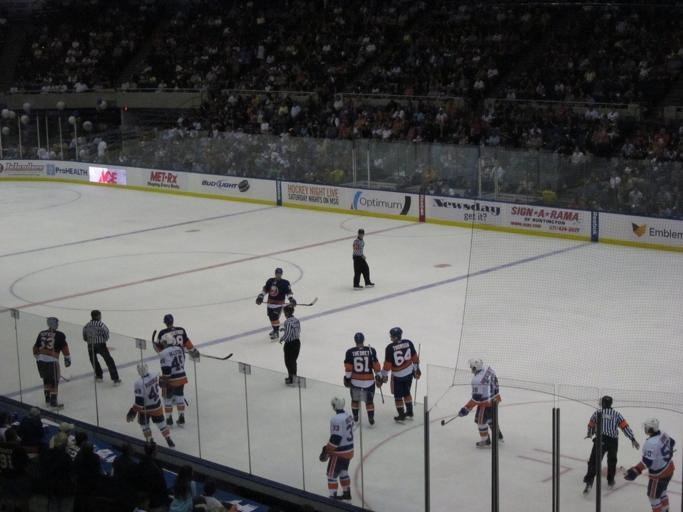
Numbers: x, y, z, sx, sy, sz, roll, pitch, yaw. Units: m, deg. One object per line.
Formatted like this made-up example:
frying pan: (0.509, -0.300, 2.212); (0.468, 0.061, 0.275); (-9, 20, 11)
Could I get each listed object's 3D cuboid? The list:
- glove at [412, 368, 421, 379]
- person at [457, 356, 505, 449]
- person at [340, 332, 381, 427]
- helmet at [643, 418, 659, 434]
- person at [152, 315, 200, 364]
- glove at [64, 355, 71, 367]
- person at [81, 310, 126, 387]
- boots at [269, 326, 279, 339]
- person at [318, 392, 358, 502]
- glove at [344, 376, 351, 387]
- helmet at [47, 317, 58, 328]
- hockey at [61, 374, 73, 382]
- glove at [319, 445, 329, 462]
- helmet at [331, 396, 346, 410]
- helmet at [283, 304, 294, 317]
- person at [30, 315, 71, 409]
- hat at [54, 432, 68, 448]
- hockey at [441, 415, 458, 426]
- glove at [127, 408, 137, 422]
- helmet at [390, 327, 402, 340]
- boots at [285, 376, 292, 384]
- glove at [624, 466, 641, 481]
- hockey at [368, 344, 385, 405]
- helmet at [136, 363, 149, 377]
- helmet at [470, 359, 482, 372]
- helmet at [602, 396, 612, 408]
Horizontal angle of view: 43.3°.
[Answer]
glove: (1.323, 2.025, 14.937); (0.118, 0.183, 0.065); (-2, 8, 8)
person: (1.992, 2.096, 12.271); (0.627, 1.044, 2.084); (0, 14, 8)
person: (0.398, 2.071, 14.676); (0.659, 1.628, 0.425); (2, 16, 8)
helmet: (4.266, 2.300, 11.852); (0.200, 0.211, 0.166); (12, 16, 29)
person: (-3.058, 1.737, 15.812); (0.764, 1.358, 0.452); (-7, 18, -24)
glove: (-4.823, 1.850, 15.227); (0.176, 0.192, 0.046); (6, 16, 30)
person: (-4.077, 1.682, 14.694); (0.342, 0.840, 0.953); (-10, 16, -30)
boots: (-1.475, 1.695, 19.221); (0.170, 0.283, 0.176); (31, 11, 32)
person: (-0.026, 2.808, 12.529); (0.522, 1.628, 0.235); (2, 14, 14)
glove: (0.111, 2.120, 14.561); (0.105, 0.179, 0.159); (-3, 10, -3)
helmet: (-5.030, 1.163, 15.090); (0.144, 0.217, 0.207); (-2, -4, -7)
hockey: (-4.840, 2.161, 15.231); (0.254, 0.119, 0.038); (9, 17, 35)
glove: (-0.221, 2.883, 12.647); (0.140, 0.246, 0.240); (6, 26, 8)
helmet: (-0.042, 2.114, 12.403); (0.145, 0.199, 0.191); (-4, 18, -18)
helmet: (-0.997, 1.053, 16.515); (0.194, 0.326, 0.212); (0, 23, -7)
person: (-5.135, 1.857, 15.338); (0.830, 1.686, 0.254); (5, 15, 26)
hat: (-4.241, 2.783, 13.054); (0.147, 0.180, 0.195); (-9, -11, -33)
hockey: (1.522, 2.317, 12.199); (0.333, 0.066, 0.100); (-14, 19, -41)
glove: (-3.488, 2.652, 14.426); (0.179, 0.275, 0.096); (2, 17, 0)
helmet: (0.973, 1.336, 14.975); (0.194, 0.223, 0.221); (-10, 19, -30)
boots: (-0.766, 1.826, 12.726); (0.053, 0.115, 0.152); (-6, 15, -29)
glove: (4.096, 3.078, 12.154); (0.212, 0.230, 0.137); (15, -2, 44)
hockey: (0.610, 1.896, 14.298); (0.166, 0.882, 0.144); (-6, -2, -17)
helmet: (-3.226, 1.868, 14.090); (0.160, 0.219, 0.207); (1, 24, -21)
helmet: (2.067, 1.658, 13.179); (0.179, 0.167, 0.143); (-5, 15, -15)
helmet: (3.635, 1.995, 11.785); (0.129, 0.167, 0.163); (4, 31, 4)
